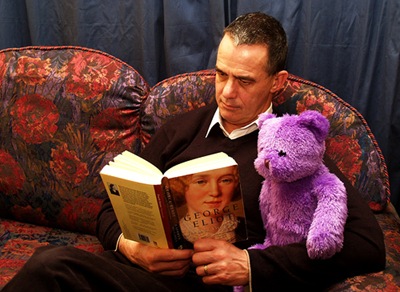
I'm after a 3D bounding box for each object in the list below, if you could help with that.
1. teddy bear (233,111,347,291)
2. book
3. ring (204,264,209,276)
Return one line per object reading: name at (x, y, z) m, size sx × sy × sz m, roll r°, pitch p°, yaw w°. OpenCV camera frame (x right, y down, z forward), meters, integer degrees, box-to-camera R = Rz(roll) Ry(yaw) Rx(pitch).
teddy bear at (0.263, 0.149, 1.327) m, size 0.429 × 0.650 × 0.461 m, roll -17°, pitch 11°, yaw -38°
book at (-0.063, 0.189, 1.083) m, size 0.446 × 0.344 × 0.170 m, roll -1°, pitch 32°, yaw 9°
ring at (0.019, 0.433, 1.161) m, size 0.012 × 0.031 × 0.023 m, roll -5°, pitch 1°, yaw -12°
